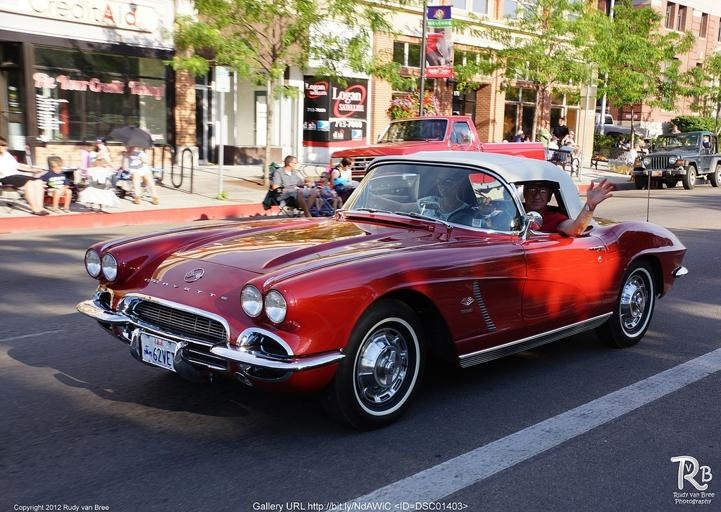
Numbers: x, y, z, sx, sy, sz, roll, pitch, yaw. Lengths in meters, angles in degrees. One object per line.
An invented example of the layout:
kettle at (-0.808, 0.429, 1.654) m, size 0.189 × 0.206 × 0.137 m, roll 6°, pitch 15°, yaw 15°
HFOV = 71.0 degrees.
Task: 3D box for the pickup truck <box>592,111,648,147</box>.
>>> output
pickup truck at (20.270, -10.598, 42.363) m, size 5.277 × 2.377 × 3.013 m, roll 19°, pitch 28°, yaw 39°

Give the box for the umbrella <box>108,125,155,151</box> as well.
umbrella at (-6.951, -3.546, 15.165) m, size 0.924 × 0.651 × 1.261 m, roll -6°, pitch 13°, yaw -32°
